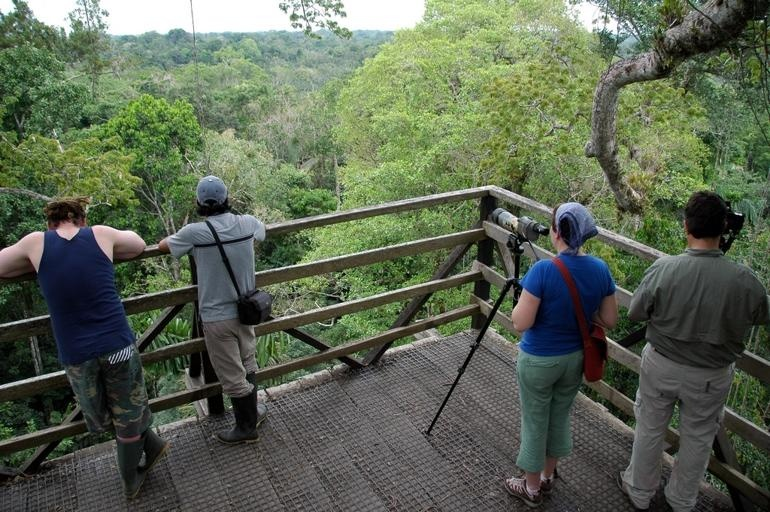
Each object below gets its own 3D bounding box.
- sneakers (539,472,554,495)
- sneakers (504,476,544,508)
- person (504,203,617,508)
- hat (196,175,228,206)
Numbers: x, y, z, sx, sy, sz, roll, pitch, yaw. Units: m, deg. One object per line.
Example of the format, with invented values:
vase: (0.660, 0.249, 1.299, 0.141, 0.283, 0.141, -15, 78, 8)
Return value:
sneakers: (1.271, 1.788, 3.989, 0.087, 0.099, 0.230, -2, -3, 14)
sneakers: (1.071, 1.828, 4.010, 0.142, 0.151, 0.322, -21, 30, -33)
person: (1.275, 0.771, 3.668, 0.714, 2.298, 0.246, 0, 12, 9)
hat: (-1.408, -0.535, 4.101, 0.241, 0.224, 0.239, -5, 12, -18)
